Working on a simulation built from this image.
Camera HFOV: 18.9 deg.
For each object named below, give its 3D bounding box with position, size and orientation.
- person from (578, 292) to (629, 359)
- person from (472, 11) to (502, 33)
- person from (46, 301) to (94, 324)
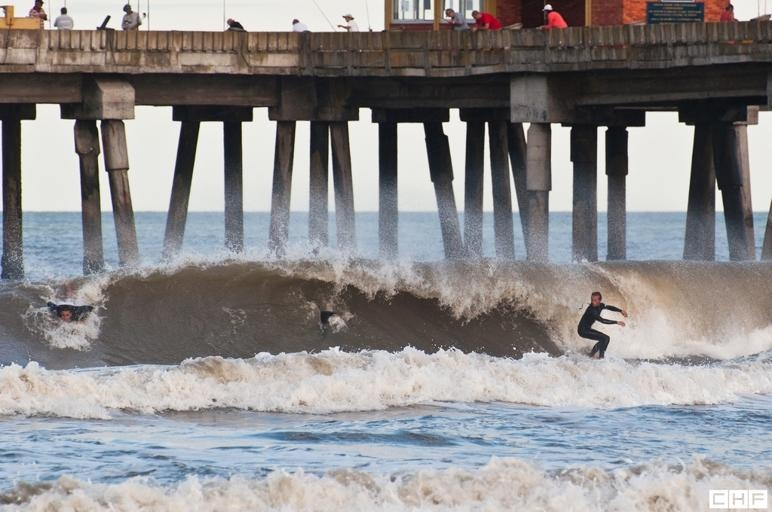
[{"bbox_3d":[5.624,1.970,59.818,1.181,1.977,0.815,2,25,14],"label":"person"},{"bbox_3d":[2.805,-6.495,64.463,0.902,0.407,0.650,16,13,4],"label":"person"},{"bbox_3d":[-8.050,1.519,59.503,1.201,0.474,0.524,-1,6,-15],"label":"person"}]
